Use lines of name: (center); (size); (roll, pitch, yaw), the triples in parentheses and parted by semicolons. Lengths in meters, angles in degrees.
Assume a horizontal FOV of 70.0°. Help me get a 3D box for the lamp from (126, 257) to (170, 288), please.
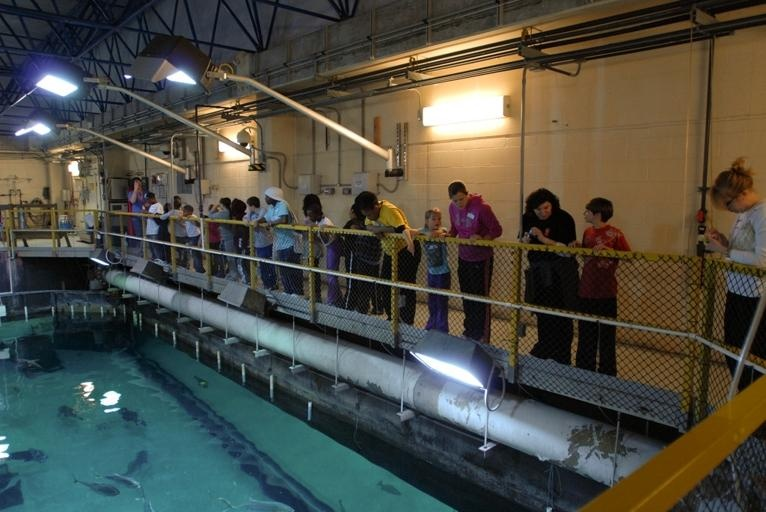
lamp: (-5.461, 0.573, 13.012); (1.009, 0.516, 0.727); (8, -21, 47)

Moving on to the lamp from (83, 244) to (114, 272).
lamp: (-8.373, 0.048, 16.157); (0.847, 0.497, 0.786); (0, -31, 41)

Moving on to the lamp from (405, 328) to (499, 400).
lamp: (0.951, 1.466, 7.319); (1.173, 0.482, 1.071); (12, -17, 45)

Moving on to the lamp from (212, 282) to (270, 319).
lamp: (-2.539, 0.770, 10.027); (1.129, 0.616, 0.257); (18, -1, 43)
